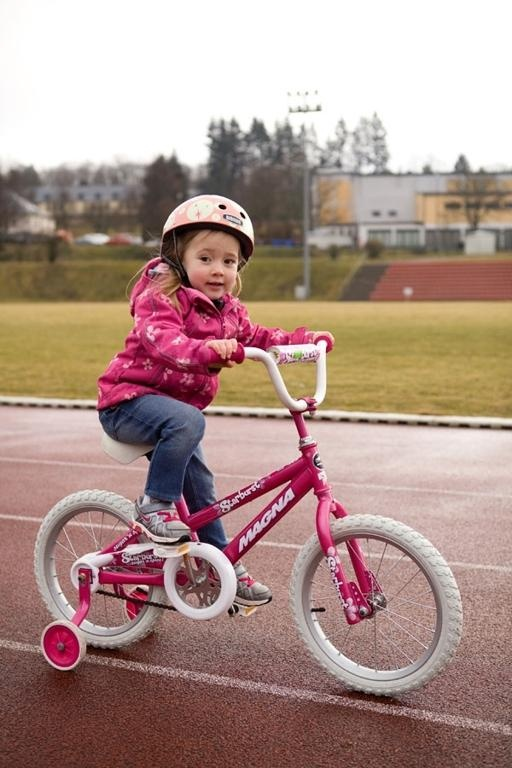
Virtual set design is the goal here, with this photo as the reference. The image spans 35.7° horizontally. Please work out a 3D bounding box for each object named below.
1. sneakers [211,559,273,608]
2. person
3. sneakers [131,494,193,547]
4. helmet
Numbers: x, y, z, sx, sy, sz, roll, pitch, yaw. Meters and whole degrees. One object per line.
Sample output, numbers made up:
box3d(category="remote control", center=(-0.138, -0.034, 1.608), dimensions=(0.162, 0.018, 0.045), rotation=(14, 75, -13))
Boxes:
box3d(category="sneakers", center=(-0.054, 0.764, 3.002), dimensions=(0.221, 0.108, 0.079), rotation=(-1, 1, 39))
box3d(category="person", center=(-0.162, 0.081, 2.903), dimensions=(0.626, 1.534, 0.697), rotation=(-5, 7, -42))
box3d(category="sneakers", center=(-0.339, 0.482, 2.853), dimensions=(0.238, 0.105, 0.113), rotation=(20, 13, 39))
box3d(category="helmet", center=(-0.177, -0.536, 2.925), dimensions=(0.259, 0.269, 0.328), rotation=(3, 7, -13))
